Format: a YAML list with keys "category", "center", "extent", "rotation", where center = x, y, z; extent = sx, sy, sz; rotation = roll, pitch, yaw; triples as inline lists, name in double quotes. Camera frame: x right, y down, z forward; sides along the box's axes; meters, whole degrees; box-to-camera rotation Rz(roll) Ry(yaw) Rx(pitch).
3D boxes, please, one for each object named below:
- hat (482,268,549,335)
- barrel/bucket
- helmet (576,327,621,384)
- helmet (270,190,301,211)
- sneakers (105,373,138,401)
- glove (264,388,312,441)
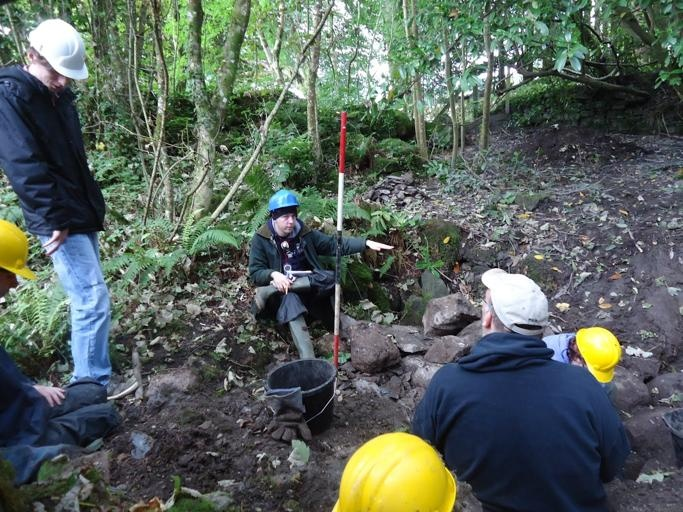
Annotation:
- category: "hat"
  center: [1.312, 0.305, 4.035]
  extent: [0.352, 0.269, 0.505]
  rotation: [-7, 43, -21]
- category: "barrel/bucket"
  center: [-0.378, 1.269, 4.965]
  extent: [0.635, 0.469, 0.645]
  rotation: [-1, 24, 1]
- category: "helmet"
  center: [2.278, 0.896, 4.721]
  extent: [0.317, 0.431, 0.238]
  rotation: [-20, -21, -39]
- category: "helmet"
  center: [-0.646, -0.596, 5.900]
  extent: [0.277, 0.150, 0.225]
  rotation: [-16, 3, 41]
- category: "sneakers"
  center: [-2.184, 1.312, 5.285]
  extent: [0.312, 0.141, 0.107]
  rotation: [-22, 19, -24]
- category: "glove"
  center: [-0.529, 1.451, 4.847]
  extent: [0.420, 0.592, 0.219]
  rotation: [2, 18, 24]
